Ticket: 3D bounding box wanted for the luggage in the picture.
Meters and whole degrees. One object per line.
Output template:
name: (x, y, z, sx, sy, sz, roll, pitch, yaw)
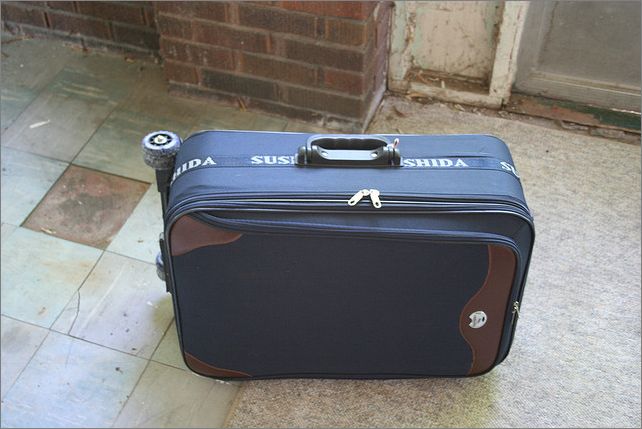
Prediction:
luggage: (0.081, 0.451, 2.885, 1.903, 1.361, 0.829, 0, 56, -4)
